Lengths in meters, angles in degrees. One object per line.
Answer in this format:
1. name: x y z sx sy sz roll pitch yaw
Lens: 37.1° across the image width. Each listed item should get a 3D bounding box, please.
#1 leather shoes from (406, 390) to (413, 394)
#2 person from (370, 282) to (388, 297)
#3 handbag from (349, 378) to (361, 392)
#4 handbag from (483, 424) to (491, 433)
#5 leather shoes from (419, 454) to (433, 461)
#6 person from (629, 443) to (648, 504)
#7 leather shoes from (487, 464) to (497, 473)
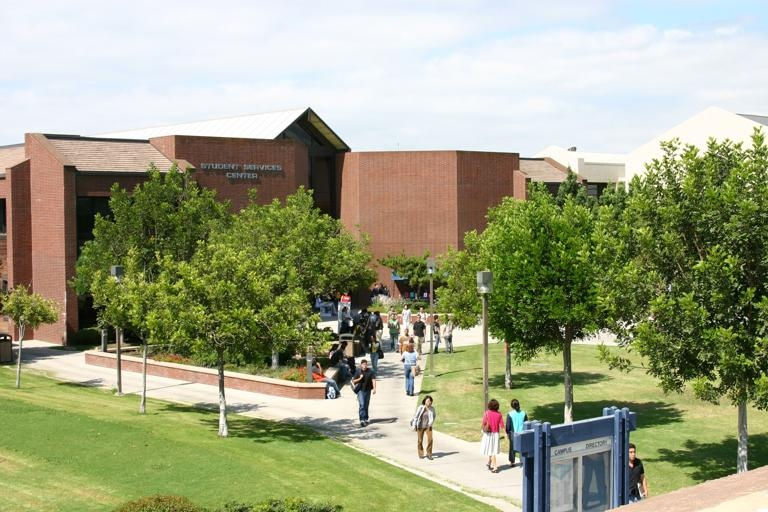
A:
1. leather shoes: 1.127 5.906 49.138 0.321 0.220 0.126 -5 11 -31
2. person: -0.325 2.263 76.551 1.208 0.963 0.355 -1 -4 1
3. handbag: -1.149 5.162 45.283 0.219 0.538 0.397 1 -5 -29
4. handbag: 3.638 6.148 40.537 0.280 0.276 0.153 -1 -7 7
5. leather shoes: 1.544 7.341 41.572 0.544 0.229 0.182 0 8 -5
6. person: 8.226 7.076 37.301 0.427 1.848 0.863 -4 -5 36
7. leather shoes: 3.848 7.586 40.657 0.144 0.189 0.476 4 7 -35
